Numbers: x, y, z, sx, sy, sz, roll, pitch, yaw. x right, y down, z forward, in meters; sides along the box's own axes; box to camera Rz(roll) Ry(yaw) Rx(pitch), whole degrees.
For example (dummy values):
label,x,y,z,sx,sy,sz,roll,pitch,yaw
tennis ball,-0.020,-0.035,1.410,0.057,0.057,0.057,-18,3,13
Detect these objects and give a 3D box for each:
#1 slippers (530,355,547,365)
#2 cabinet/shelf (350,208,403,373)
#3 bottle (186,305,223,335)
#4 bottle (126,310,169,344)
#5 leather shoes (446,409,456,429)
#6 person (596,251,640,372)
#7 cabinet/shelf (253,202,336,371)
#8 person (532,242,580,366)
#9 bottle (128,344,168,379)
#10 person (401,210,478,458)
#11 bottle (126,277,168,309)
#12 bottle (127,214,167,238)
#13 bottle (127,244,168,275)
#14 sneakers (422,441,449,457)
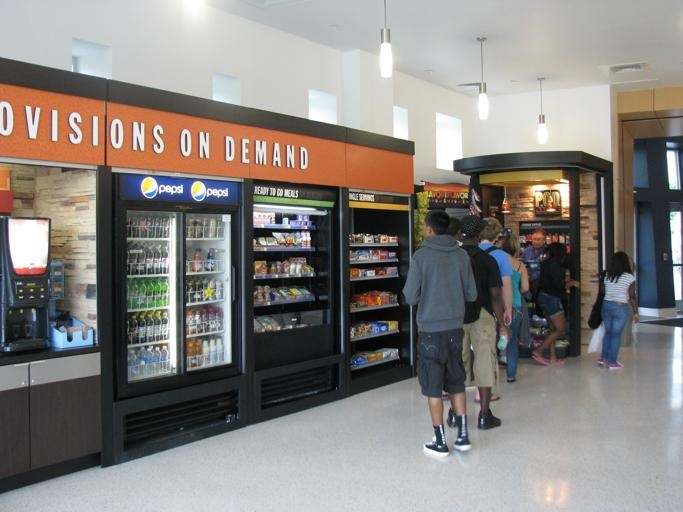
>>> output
label,x,y,z,sx,sy,sz,roll,pitch,yaw
slippers,3.138,1.646,8.533,0.099,0.107,0.271,46,-16,-31
cabinet/shelf,0.461,0.441,7.689,0.984,2.234,0.680,-2,3,-35
bottle,-1.490,0.689,5.875,0.272,0.200,0.280,0,2,0
bottle,-1.963,0.724,5.505,0.392,0.293,0.111,-2,3,-25
leather shoes,1.186,1.760,5.823,0.070,0.097,0.221,0,-1,5
person,4.131,0.820,8.095,0.444,1.757,0.363,1,3,28
cabinet/shelf,-0.640,0.310,6.615,0.581,1.889,1.197,2,3,44
person,3.359,0.737,8.660,0.494,1.882,0.753,0,3,23
bottle,-1.951,1.062,5.479,0.400,0.275,0.146,-2,3,-27
person,0.954,0.846,5.100,0.723,2.072,0.250,-2,2,-23
bottle,-1.962,0.353,5.533,0.459,0.469,0.245,1,2,-43
bottle,-1.946,-0.301,5.451,0.408,0.258,0.056,-3,3,-32
bottle,-1.960,0.043,5.483,0.399,0.288,0.113,-2,3,-28
sneakers,0.901,1.811,5.147,0.109,0.161,0.255,1,2,-36
